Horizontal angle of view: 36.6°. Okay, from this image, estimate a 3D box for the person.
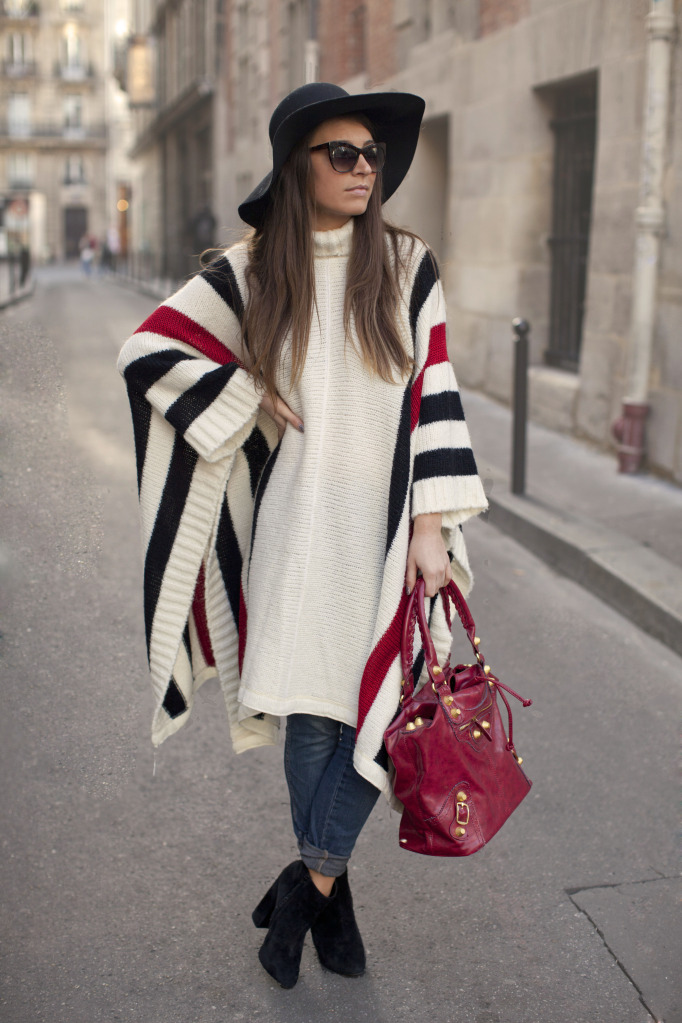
[{"bbox_3d":[-0.063,0.050,2.002,0.704,1.670,0.474,9,13,40],"label":"person"}]

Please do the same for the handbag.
[{"bbox_3d":[0.203,0.410,1.815,0.252,0.556,0.327,2,11,11],"label":"handbag"}]

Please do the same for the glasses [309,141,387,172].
[{"bbox_3d":[0.019,-0.640,1.864,0.142,0.058,0.059,-4,11,-20],"label":"glasses"}]

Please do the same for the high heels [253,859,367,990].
[{"bbox_3d":[-0.047,0.756,2.003,0.191,0.246,0.199,16,1,1],"label":"high heels"}]

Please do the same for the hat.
[{"bbox_3d":[0.006,-0.670,1.964,0.258,0.346,0.142,-36,68,-21],"label":"hat"}]
